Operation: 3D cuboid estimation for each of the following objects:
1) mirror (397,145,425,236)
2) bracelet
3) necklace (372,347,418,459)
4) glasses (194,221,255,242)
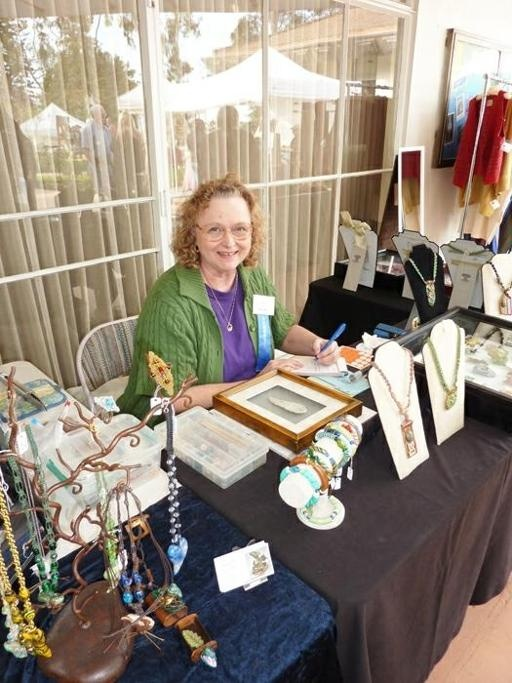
[{"bbox_3d":[1.439,-1.380,3.982,0.268,0.781,0.033,0,1,-12],"label":"mirror"},{"bbox_3d":[0.115,0.206,0.805,0.098,0.089,0.206,14,28,29],"label":"bracelet"},{"bbox_3d":[0.325,0.147,1.009,0.089,0.276,0.023,-12,6,-23],"label":"necklace"},{"bbox_3d":[-0.115,-0.381,1.522,0.184,0.060,0.065,-6,25,-8],"label":"glasses"}]
